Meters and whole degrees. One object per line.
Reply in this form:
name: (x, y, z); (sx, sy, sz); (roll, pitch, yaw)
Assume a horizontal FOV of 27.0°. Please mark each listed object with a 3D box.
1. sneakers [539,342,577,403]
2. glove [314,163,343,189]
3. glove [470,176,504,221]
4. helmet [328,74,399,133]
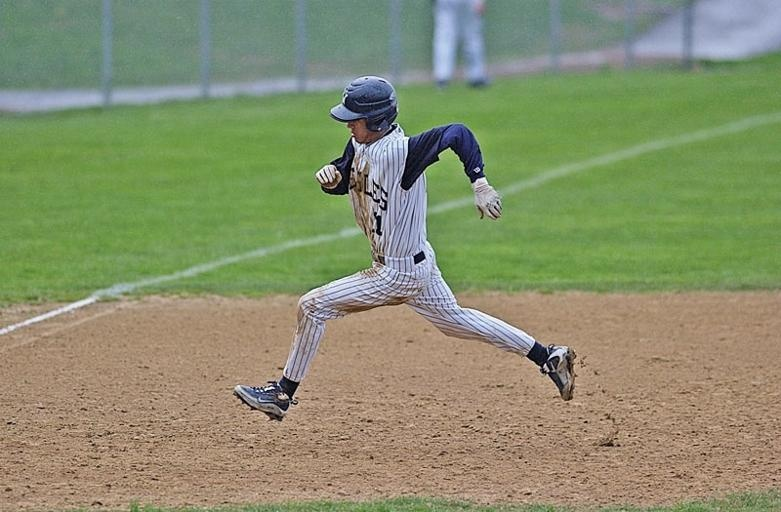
sneakers: (1.513, 1.029, 14.590); (0.259, 0.431, 0.174); (-4, 42, -19)
glove: (-0.523, -0.698, 14.364); (0.216, 0.217, 0.145); (-2, 8, -2)
glove: (0.868, -0.492, 14.046); (0.268, 0.363, 0.120); (-26, -4, 25)
helmet: (-0.230, -1.369, 14.336); (0.660, 0.404, 0.438); (-8, 33, -14)
